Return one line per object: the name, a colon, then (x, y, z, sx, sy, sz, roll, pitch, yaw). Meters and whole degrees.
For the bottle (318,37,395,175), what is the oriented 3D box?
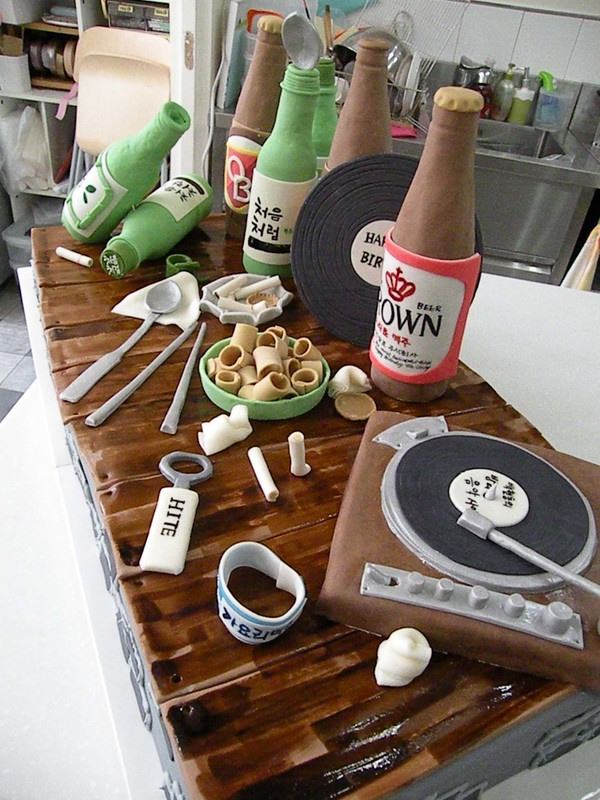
bottle: (0.073, -0.327, 0.742, 0.074, 0.170, 0.068, 1, 63, -2)

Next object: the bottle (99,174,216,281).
bottle: (-0.175, -0.224, 0.891, 0.201, 0.078, 0.082, -42, 22, -32)
